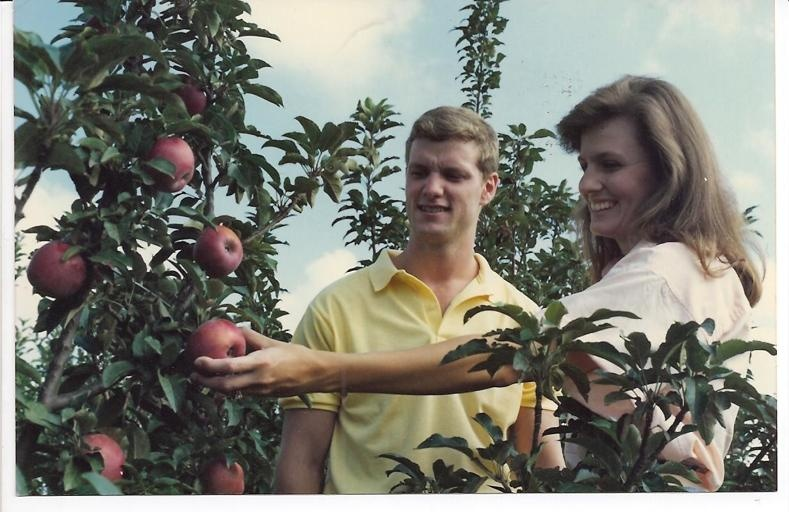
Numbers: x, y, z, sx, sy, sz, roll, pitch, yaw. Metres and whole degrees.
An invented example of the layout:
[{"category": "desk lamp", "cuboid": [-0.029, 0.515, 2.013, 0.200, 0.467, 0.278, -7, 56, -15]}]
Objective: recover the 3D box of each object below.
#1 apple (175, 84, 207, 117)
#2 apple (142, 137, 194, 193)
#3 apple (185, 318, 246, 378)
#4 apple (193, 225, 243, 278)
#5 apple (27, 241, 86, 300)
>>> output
[{"category": "apple", "cuboid": [-0.924, -0.716, 4.296, 0.130, 0.159, 0.133, -12, 13, 1]}, {"category": "apple", "cuboid": [-1.012, -0.419, 4.171, 0.225, 0.255, 0.125, 9, -17, -22]}, {"category": "apple", "cuboid": [-0.819, 0.387, 4.186, 0.292, 0.244, 0.242, 4, 34, -15]}, {"category": "apple", "cuboid": [-0.820, -0.008, 4.267, 0.232, 0.233, 0.222, -6, 9, -4]}, {"category": "apple", "cuboid": [-1.533, 0.073, 4.166, 0.255, 0.286, 0.250, -3, 13, -22]}]
